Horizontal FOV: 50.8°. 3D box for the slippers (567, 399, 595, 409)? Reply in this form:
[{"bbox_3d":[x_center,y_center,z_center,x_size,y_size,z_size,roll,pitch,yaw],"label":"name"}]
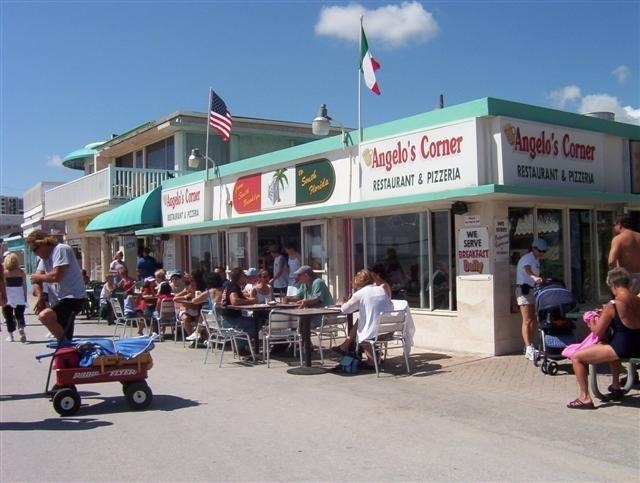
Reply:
[{"bbox_3d":[3.446,2.115,8.861,0.271,0.109,0.146,0,-4,32],"label":"slippers"}]

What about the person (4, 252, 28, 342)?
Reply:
[{"bbox_3d":[-6.684,1.335,14.765,0.655,2.016,0.553,2,1,-30],"label":"person"}]

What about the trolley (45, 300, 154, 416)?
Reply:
[{"bbox_3d":[-2.999,1.722,9.192,1.242,0.895,0.879,0,-2,-18],"label":"trolley"}]

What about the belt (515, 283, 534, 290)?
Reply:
[{"bbox_3d":[3.543,0.792,11.604,0.269,0.109,0.106,-4,-4,15],"label":"belt"}]

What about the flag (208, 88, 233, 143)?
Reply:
[{"bbox_3d":[-2.818,-3.523,19.003,0.583,1.500,0.976,-1,-4,-14],"label":"flag"}]

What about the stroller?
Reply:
[{"bbox_3d":[3.759,1.336,10.651,0.683,1.369,0.665,-2,2,-36],"label":"stroller"}]

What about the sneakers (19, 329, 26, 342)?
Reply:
[{"bbox_3d":[-6.482,2.073,14.646,0.108,0.271,0.115,-14,22,-17],"label":"sneakers"}]

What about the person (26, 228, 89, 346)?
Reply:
[{"bbox_3d":[-3.741,0.780,9.560,0.753,1.843,0.660,-1,-8,-32],"label":"person"}]
